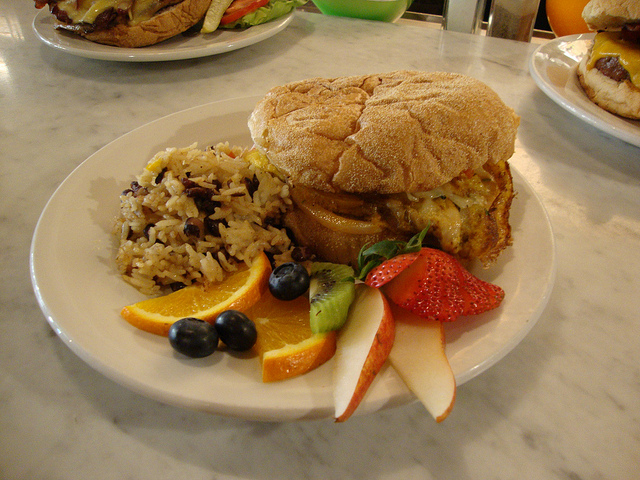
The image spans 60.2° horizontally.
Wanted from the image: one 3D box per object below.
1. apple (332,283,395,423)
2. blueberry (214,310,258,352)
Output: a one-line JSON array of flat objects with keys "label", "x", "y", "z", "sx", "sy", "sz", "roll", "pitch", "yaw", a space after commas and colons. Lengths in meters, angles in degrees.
[{"label": "apple", "x": 0.133, "y": 0.355, "z": 1.711, "sx": 0.191, "sy": 0.086, "sz": 0.382, "roll": 7, "pitch": 63, "yaw": 48}, {"label": "blueberry", "x": -0.260, "y": 0.289, "z": 1.827, "sx": 0.155, "sy": 0.112, "sz": 0.145, "roll": 7, "pitch": 25, "yaw": 10}]
